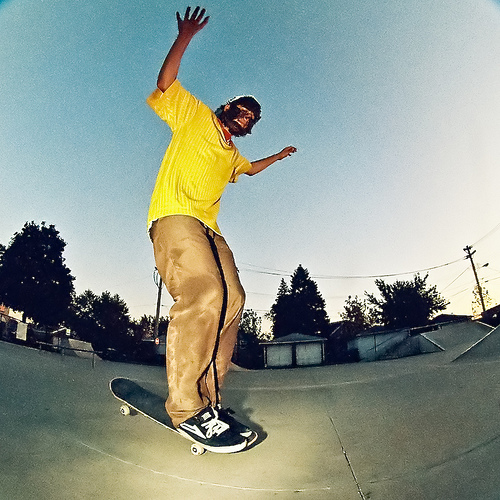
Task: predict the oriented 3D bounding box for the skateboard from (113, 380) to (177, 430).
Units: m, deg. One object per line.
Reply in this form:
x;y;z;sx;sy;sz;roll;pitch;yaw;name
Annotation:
-0.601;0.861;2.522;0.272;0.170;0.545;-12;13;-22;skateboard

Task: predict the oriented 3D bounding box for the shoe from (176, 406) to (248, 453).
-0.193;0.893;2.336;0.351;0.185;0.149;2;-4;29;shoe
